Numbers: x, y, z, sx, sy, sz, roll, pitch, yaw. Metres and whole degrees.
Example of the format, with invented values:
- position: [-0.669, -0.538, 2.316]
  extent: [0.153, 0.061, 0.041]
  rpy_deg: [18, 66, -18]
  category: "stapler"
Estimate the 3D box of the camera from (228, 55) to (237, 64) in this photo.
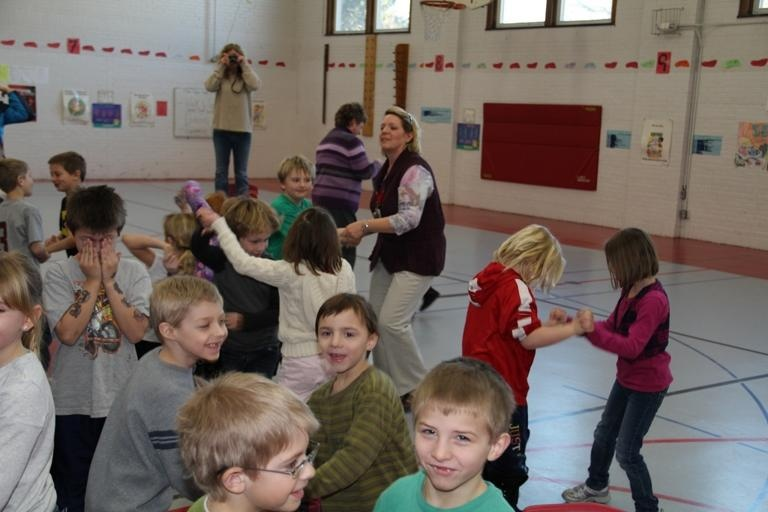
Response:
- position: [-2.056, -2.725, 7.824]
  extent: [0.094, 0.105, 0.125]
  rpy_deg: [-1, 11, -19]
  category: "camera"

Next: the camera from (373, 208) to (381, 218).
- position: [-0.044, -0.326, 4.199]
  extent: [0.040, 0.072, 0.063]
  rpy_deg: [-11, 21, -29]
  category: "camera"

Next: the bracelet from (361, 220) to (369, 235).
- position: [-0.128, -0.200, 3.985]
  extent: [0.062, 0.079, 0.075]
  rpy_deg: [0, 6, -12]
  category: "bracelet"
